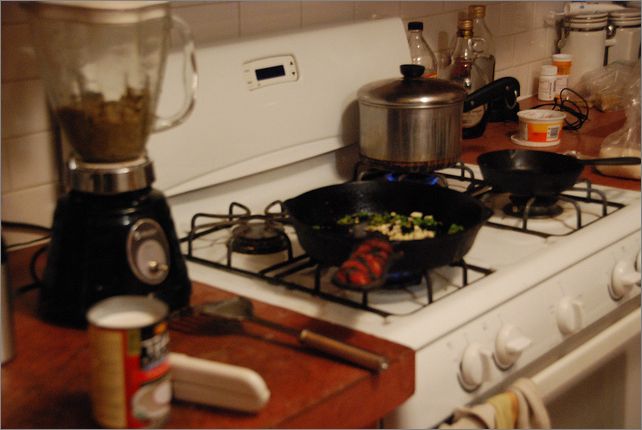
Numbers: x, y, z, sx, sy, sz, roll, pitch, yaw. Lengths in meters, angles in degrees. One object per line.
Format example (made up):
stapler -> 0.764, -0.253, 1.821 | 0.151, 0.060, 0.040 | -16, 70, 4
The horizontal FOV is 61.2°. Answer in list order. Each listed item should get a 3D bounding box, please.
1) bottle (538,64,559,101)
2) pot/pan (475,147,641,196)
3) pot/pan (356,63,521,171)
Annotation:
bottle -> 0.839, -0.484, 1.988 | 0.070, 0.118, 0.069 | -4, 21, 2
pot/pan -> 0.505, -0.096, 1.188 | 0.278, 0.042, 0.165 | 2, 12, 14
pot/pan -> 0.318, -0.256, 1.346 | 0.491, 0.221, 0.250 | -5, 24, -14
